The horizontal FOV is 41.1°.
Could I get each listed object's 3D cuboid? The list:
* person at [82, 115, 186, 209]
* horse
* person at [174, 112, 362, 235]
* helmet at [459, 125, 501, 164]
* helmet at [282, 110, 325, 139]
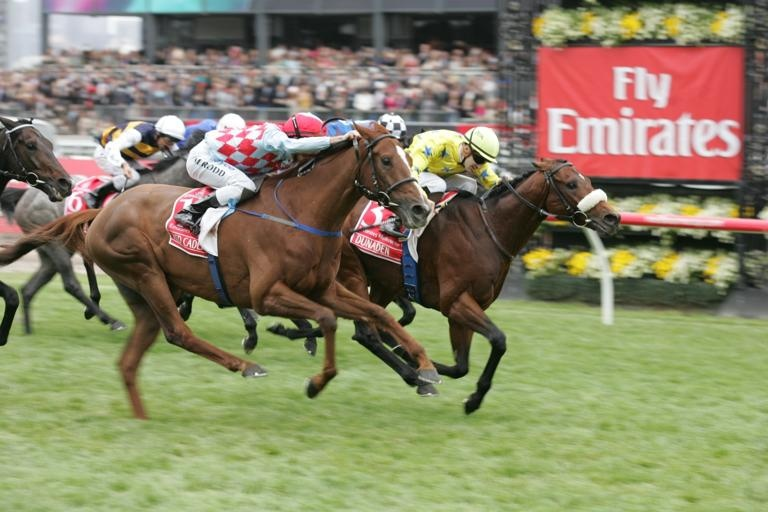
[{"bbox_3d":[-2.195,-0.816,9.171,0.880,0.824,0.648,3,7,-4],"label":"person"},{"bbox_3d":[-0.948,0.071,7.366,3.618,2.030,1.071,1,10,5],"label":"horse"},{"bbox_3d":[-0.852,-0.596,7.233,1.360,0.775,0.550,8,3,32],"label":"person"},{"bbox_3d":[0.726,-0.862,7.790,0.326,0.188,0.224,36,29,12],"label":"helmet"},{"bbox_3d":[-0.552,-0.916,7.140,0.302,0.151,0.151,-5,51,-12],"label":"helmet"}]
